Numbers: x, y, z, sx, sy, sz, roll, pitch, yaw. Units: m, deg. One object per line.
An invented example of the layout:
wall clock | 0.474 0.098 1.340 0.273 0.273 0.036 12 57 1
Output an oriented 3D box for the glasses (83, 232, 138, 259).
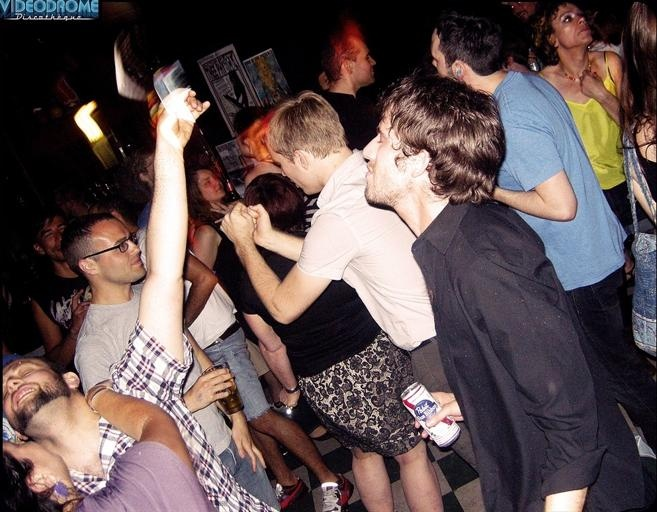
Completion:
glasses | -1.108 -0.034 2.299 0.160 0.047 0.160 -27 -3 14
